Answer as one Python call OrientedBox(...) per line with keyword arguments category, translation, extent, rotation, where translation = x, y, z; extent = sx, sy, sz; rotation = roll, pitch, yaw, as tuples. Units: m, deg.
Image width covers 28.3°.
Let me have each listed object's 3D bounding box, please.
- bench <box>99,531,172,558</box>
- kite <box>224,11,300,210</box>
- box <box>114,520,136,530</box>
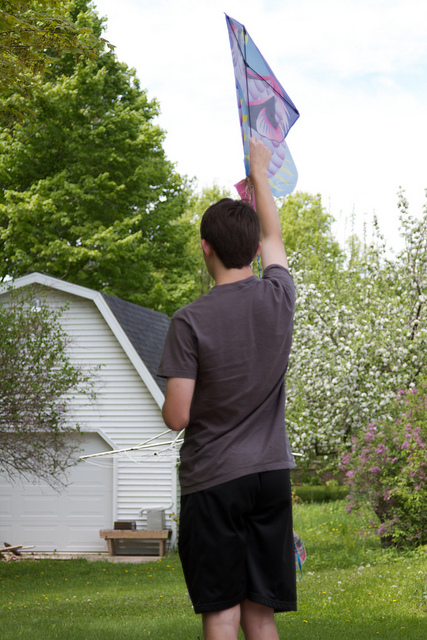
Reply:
OrientedBox(category="bench", translation=(-1.417, 4.102, 15.606), extent=(1.284, 0.557, 0.751), rotation=(-7, -9, 4))
OrientedBox(category="kite", translation=(0.220, -0.981, 3.917), extent=(0.173, 0.771, 0.456), rotation=(-14, -12, 29))
OrientedBox(category="box", translation=(-1.656, 3.845, 15.851), extent=(0.398, 0.177, 0.236), rotation=(-9, -10, 15))
